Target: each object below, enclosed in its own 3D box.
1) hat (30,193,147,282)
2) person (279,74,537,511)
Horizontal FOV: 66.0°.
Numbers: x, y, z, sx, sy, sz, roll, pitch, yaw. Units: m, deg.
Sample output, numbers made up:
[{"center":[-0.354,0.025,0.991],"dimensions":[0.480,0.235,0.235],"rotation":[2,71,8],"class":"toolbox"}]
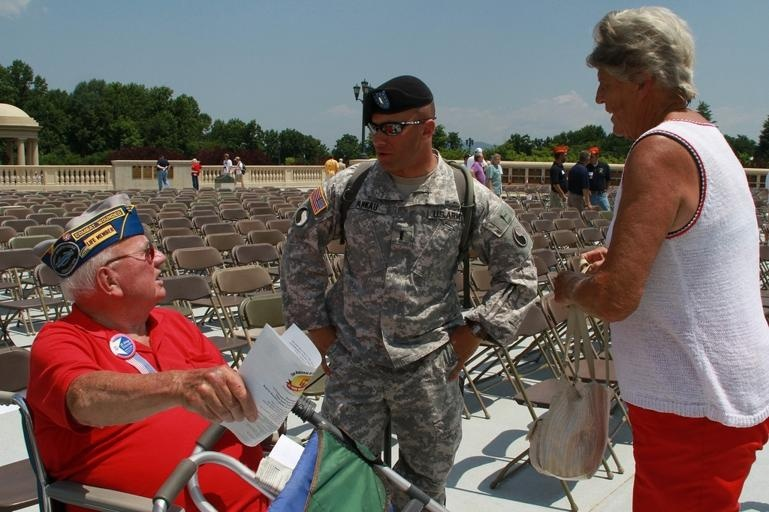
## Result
[{"center":[-1.257,-0.095,2.553],"dimensions":[0.430,0.231,0.337],"rotation":[-31,27,-4],"class":"hat"},{"center":[0.108,0.205,2.895],"dimensions":[1.227,2.110,0.539],"rotation":[-2,12,-8],"class":"person"}]
